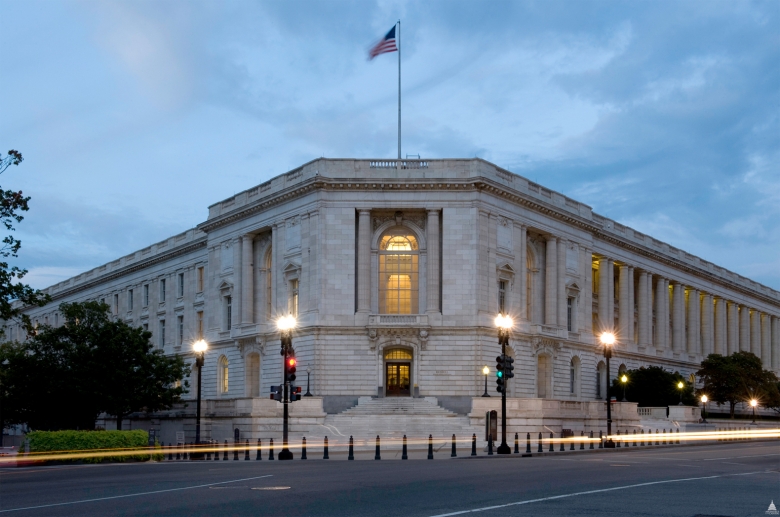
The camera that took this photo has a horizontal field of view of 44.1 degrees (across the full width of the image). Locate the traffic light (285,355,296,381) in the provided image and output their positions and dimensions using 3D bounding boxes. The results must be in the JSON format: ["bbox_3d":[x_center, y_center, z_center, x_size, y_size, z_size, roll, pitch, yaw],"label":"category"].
[{"bbox_3d":[-5.948,6.425,57.215,0.558,1.490,0.607,0,-16,0],"label":"traffic light"}]
